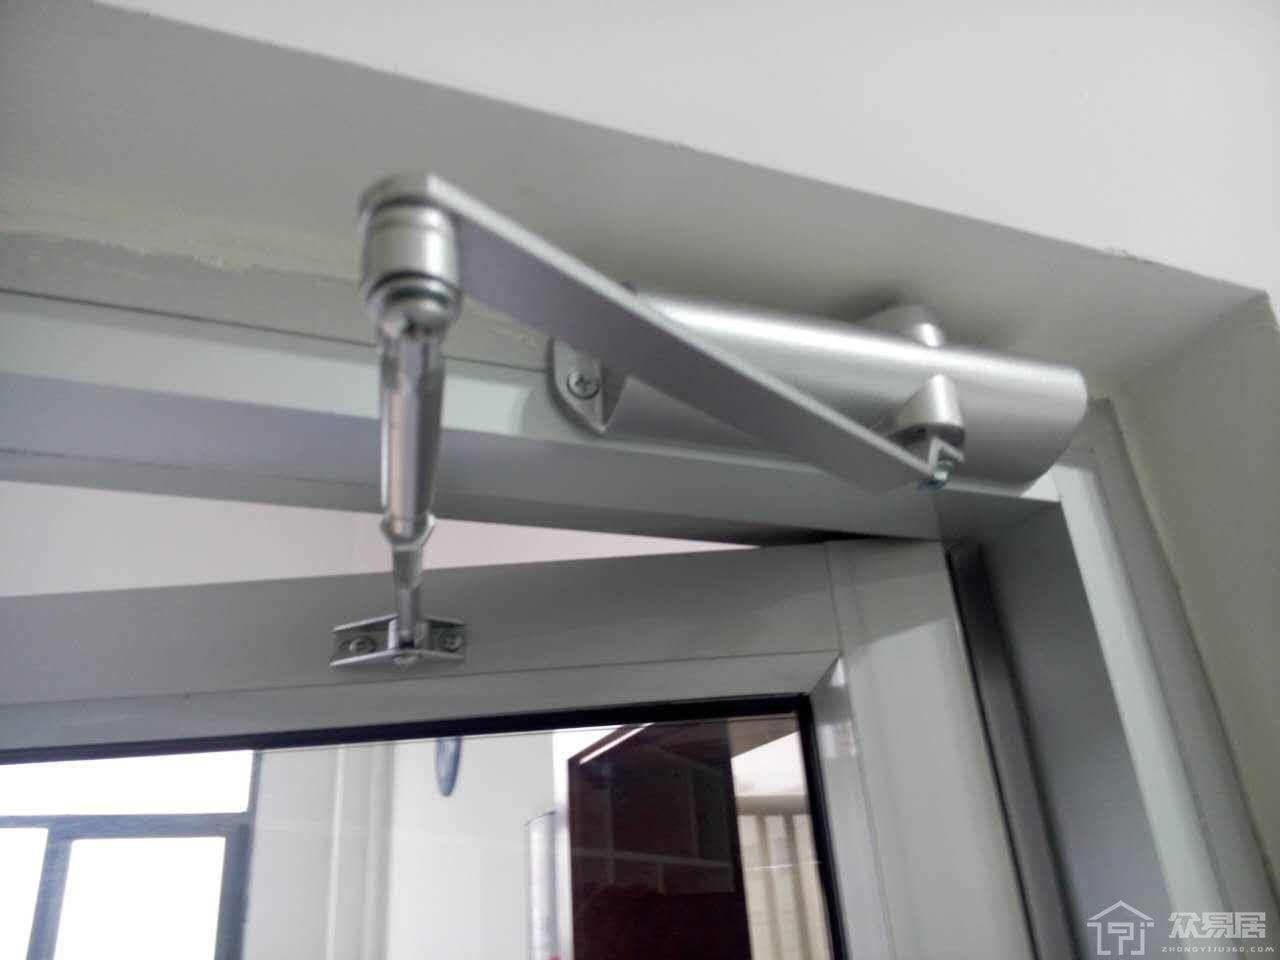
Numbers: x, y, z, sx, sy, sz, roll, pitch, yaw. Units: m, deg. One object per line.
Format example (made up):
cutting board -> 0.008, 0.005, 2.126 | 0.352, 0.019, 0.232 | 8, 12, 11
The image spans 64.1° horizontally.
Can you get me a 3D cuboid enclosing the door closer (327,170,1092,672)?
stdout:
door closer -> 0.059, -0.047, 0.668 | 0.478, 0.219, 0.122 | 9, -25, -17
